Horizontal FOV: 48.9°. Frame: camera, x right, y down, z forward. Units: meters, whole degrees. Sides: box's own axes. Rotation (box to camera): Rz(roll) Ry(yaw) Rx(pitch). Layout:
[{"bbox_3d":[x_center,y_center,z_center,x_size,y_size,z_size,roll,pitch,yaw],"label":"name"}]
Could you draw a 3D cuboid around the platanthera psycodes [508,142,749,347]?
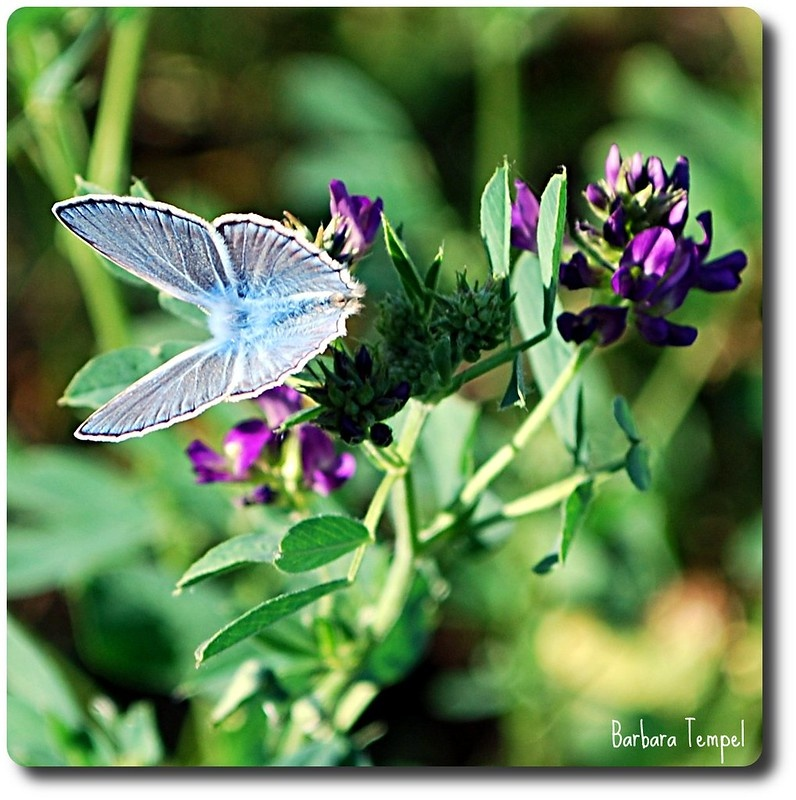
[{"bbox_3d":[0.707,-0.447,2.561,0.728,0.528,0.368,-6,34,2],"label":"platanthera psycodes"}]
